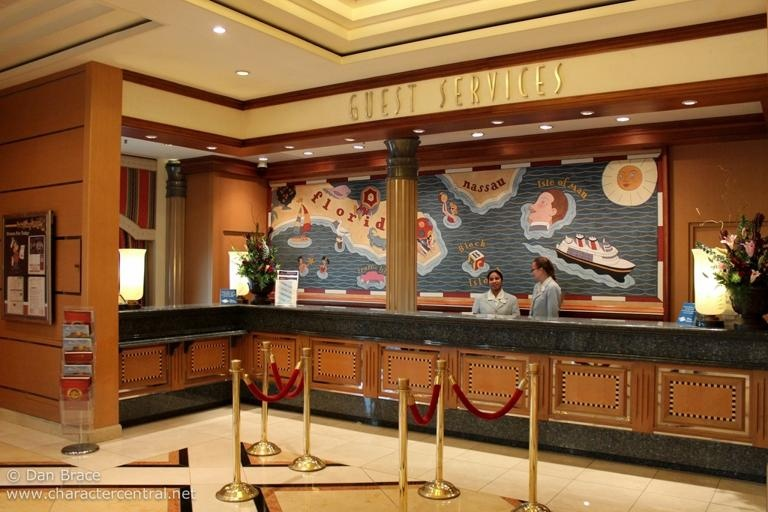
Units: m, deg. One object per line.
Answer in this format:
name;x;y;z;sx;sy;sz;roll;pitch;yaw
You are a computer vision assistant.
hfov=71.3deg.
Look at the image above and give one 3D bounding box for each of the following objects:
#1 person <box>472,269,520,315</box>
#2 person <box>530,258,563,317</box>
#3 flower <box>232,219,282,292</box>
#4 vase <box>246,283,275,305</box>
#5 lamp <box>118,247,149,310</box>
person;1.870;0.603;8.845;0.841;1.084;0.377;-3;-34;14
person;2.345;0.448;7.790;0.399;0.835;0.622;2;3;15
flower;-2.093;0.130;8.807;0.632;0.894;0.493;0;3;-11
vase;-2.071;0.606;8.901;0.604;0.347;0.506;0;-11;4
lamp;-3.543;0.291;7.486;0.311;0.774;0.319;0;3;-26
